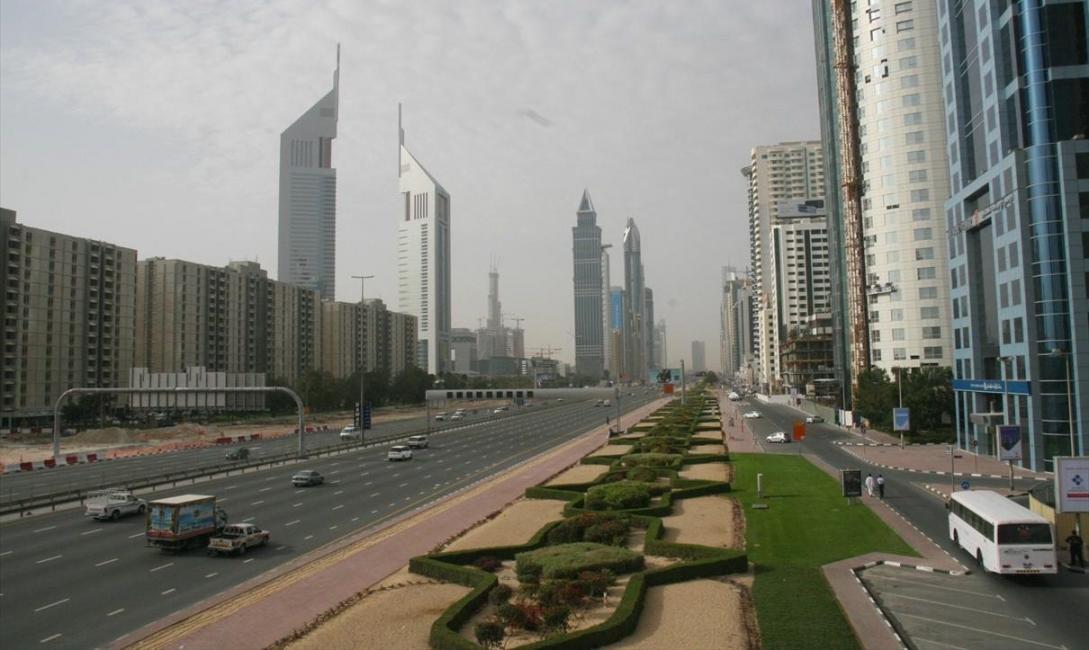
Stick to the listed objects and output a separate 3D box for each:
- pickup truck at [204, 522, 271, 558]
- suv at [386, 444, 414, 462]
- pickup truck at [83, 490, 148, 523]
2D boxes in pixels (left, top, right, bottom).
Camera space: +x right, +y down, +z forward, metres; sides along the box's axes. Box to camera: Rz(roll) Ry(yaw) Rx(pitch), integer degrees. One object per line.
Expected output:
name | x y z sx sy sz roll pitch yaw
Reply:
pickup truck | -33.829 23.438 103.753 3.212 2.241 5.986 3 4 30
suv | -21.580 18.757 140.689 3.030 2.008 3.449 -1 2 1
pickup truck | -50.862 21.716 112.585 3.851 2.977 6.457 3 5 41
